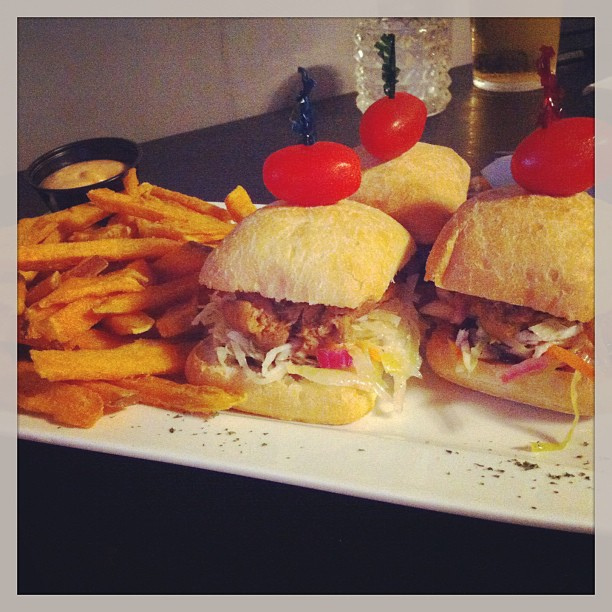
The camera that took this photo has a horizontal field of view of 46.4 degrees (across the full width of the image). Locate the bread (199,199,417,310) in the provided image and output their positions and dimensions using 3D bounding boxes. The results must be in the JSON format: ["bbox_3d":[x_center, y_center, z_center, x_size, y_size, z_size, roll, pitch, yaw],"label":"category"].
[{"bbox_3d":[0.044,-0.216,3.020,0.795,0.201,0.571,4,25,12],"label":"bread"}]

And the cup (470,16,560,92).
[{"bbox_3d":[0.859,-1.103,3.131,0.475,0.361,0.362,-5,30,2],"label":"cup"}]

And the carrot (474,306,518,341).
[{"bbox_3d":[0.852,0.062,3.176,0.064,0.174,0.140,-52,13,-26],"label":"carrot"}]

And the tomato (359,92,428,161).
[{"bbox_3d":[0.400,-0.799,3.259,0.246,0.312,0.225,6,49,-54],"label":"tomato"}]

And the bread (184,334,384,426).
[{"bbox_3d":[-0.121,0.363,3.441,0.772,0.335,0.966,8,15,44],"label":"bread"}]

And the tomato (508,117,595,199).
[{"bbox_3d":[1.062,-0.612,2.971,0.483,0.237,0.232,-11,27,6],"label":"tomato"}]

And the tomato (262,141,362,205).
[{"bbox_3d":[0.002,-0.586,3.082,0.379,0.256,0.323,12,23,31],"label":"tomato"}]

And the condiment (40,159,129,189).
[{"bbox_3d":[-1.003,-0.596,3.215,0.389,0.127,0.062,-7,26,-17],"label":"condiment"}]

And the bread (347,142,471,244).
[{"bbox_3d":[0.522,-0.534,3.356,0.536,0.355,0.594,8,16,37],"label":"bread"}]

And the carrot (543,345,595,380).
[{"bbox_3d":[1.129,0.241,3.094,0.203,0.040,0.145,13,5,25],"label":"carrot"}]

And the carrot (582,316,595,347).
[{"bbox_3d":[1.209,0.104,3.057,0.046,0.116,0.037,1,27,9],"label":"carrot"}]
